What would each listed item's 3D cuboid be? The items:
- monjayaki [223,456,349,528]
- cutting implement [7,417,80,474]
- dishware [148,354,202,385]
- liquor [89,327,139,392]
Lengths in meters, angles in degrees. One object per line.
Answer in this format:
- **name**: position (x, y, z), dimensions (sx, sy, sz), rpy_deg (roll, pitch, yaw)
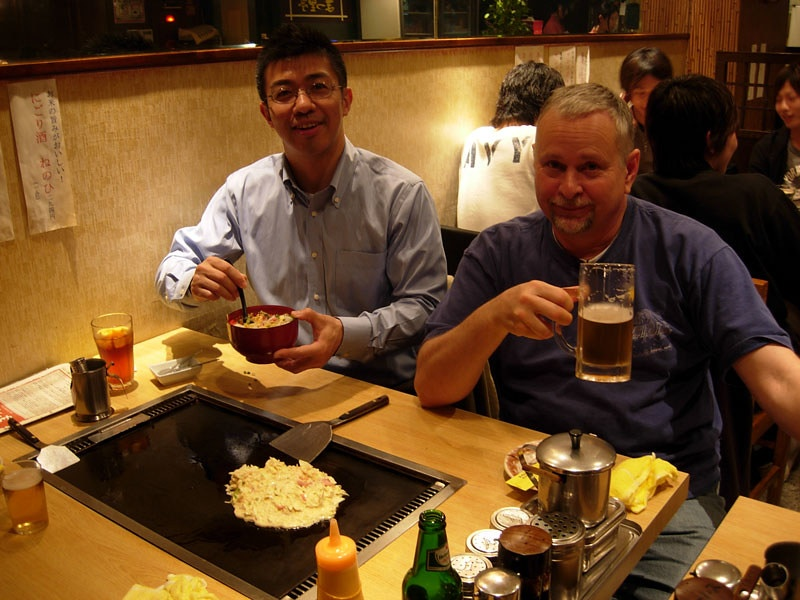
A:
- **monjayaki**: position (-0.278, 0.469, 1.472), dimensions (0.282, 0.055, 0.288), rpy_deg (1, 11, -35)
- **cutting implement**: position (-0.958, 0.383, 1.703), dimensions (0.212, 0.102, 0.183), rpy_deg (17, 21, 39)
- **dishware**: position (-0.761, 0.234, 2.030), dimensions (0.134, 0.044, 0.086), rpy_deg (-17, 27, -35)
- **liquor**: position (-0.955, 0.189, 2.007), dimensions (0.123, 0.205, 0.130), rpy_deg (-8, 7, -12)
